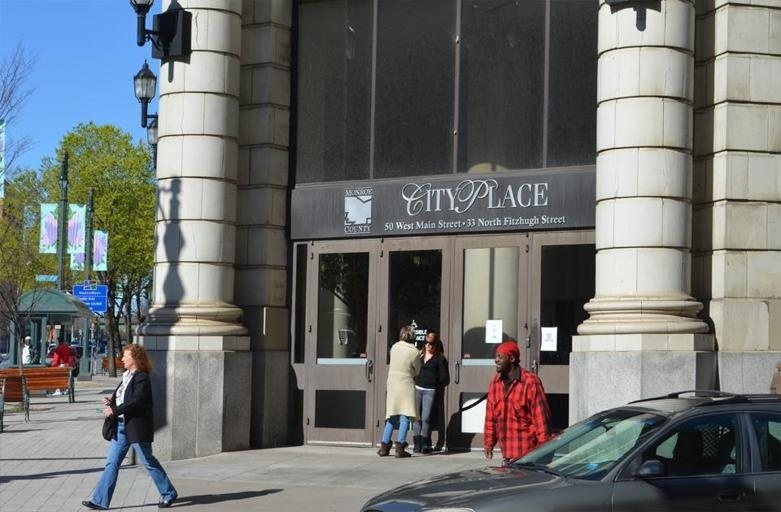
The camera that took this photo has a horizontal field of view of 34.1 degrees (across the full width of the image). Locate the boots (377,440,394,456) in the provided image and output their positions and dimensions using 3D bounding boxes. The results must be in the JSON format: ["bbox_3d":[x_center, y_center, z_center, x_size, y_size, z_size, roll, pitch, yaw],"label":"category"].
[{"bbox_3d":[-0.088,3.696,24.594,0.253,0.286,0.314,3,4,-43],"label":"boots"}]

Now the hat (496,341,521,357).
[{"bbox_3d":[1.729,1.393,19.237,0.370,0.265,0.269,9,-3,16],"label":"hat"}]

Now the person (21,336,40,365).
[{"bbox_3d":[-13.006,3.407,46.216,0.441,1.030,3.146,0,-5,-15],"label":"person"}]

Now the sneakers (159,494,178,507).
[{"bbox_3d":[-3.602,3.944,20.654,0.346,0.159,0.151,-31,-40,26],"label":"sneakers"}]

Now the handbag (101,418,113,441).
[{"bbox_3d":[-4.546,2.784,20.611,0.150,0.375,0.251,0,-5,-19],"label":"handbag"}]
